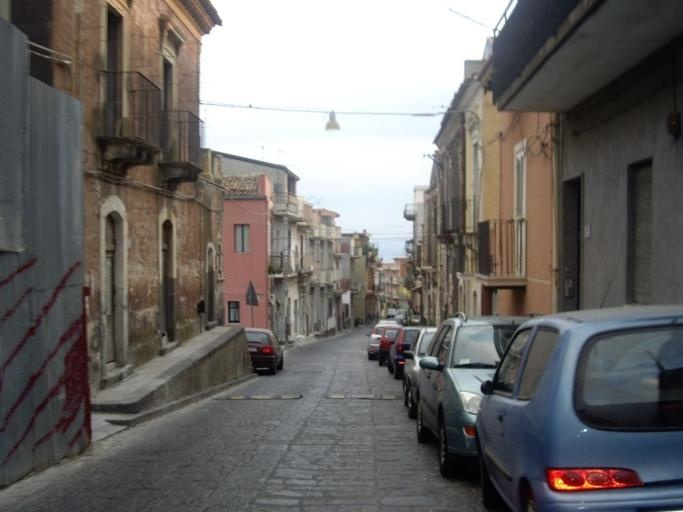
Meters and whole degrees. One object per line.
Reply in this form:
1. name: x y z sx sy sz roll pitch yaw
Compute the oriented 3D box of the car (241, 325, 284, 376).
1. car: -2.692 3.138 27.647 1.158 1.524 1.566 0 -2 -7
